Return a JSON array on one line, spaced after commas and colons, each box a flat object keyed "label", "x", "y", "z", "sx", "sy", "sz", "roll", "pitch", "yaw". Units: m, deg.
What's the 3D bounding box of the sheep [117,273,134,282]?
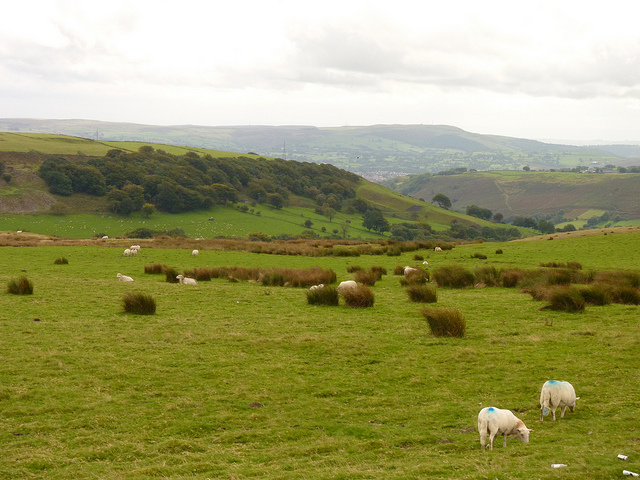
[{"label": "sheep", "x": -8.115, "y": 1.529, "z": 28.125, "sx": 0.817, "sy": 0.368, "sz": 0.256, "roll": 8, "pitch": 8, "yaw": 24}]

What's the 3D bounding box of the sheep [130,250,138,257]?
[{"label": "sheep", "x": -10.605, "y": 0.713, "z": 38.782, "sx": 0.412, "sy": 0.318, "sz": 0.688, "roll": 1, "pitch": 5, "yaw": -12}]

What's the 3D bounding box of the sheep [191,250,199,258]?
[{"label": "sheep", "x": -7.410, "y": 0.799, "z": 40.311, "sx": 0.470, "sy": 0.678, "sz": 1.315, "roll": 0, "pitch": 0, "yaw": -13}]

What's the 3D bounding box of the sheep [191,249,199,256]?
[{"label": "sheep", "x": -7.451, "y": 0.740, "z": 40.428, "sx": 0.302, "sy": 0.344, "sz": 0.682, "roll": 1, "pitch": 1, "yaw": -9}]

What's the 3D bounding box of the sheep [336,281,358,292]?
[{"label": "sheep", "x": 1.025, "y": 1.734, "z": 26.921, "sx": 1.128, "sy": 0.259, "sz": 0.528, "roll": -1, "pitch": 31, "yaw": -3}]

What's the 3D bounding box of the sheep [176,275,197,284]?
[{"label": "sheep", "x": -5.487, "y": 1.636, "z": 28.212, "sx": 0.893, "sy": 0.407, "sz": 0.287, "roll": 5, "pitch": 1, "yaw": 1}]

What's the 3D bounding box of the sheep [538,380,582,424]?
[{"label": "sheep", "x": 5.863, "y": 3.982, "z": 16.914, "sx": 0.671, "sy": 0.949, "sz": 1.903, "roll": -3, "pitch": -12, "yaw": 39}]

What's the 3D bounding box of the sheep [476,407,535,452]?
[{"label": "sheep", "x": 4.172, "y": 4.294, "z": 15.696, "sx": 1.225, "sy": 0.967, "sz": 0.547, "roll": 1, "pitch": 5, "yaw": -12}]

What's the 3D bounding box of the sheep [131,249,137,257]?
[{"label": "sheep", "x": -10.614, "y": 0.685, "z": 38.823, "sx": 0.265, "sy": 0.335, "sz": 0.413, "roll": 1, "pitch": 5, "yaw": -10}]
